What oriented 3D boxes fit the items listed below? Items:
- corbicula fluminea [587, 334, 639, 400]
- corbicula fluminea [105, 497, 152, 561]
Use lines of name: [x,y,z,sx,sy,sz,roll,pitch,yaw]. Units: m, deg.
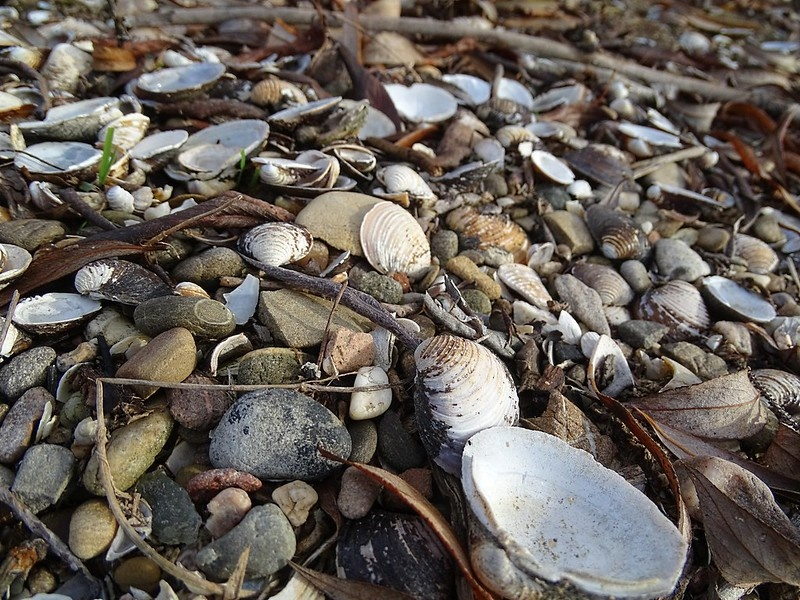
corbicula fluminea: [1.058,0.326,3.789,0.212,0.067,0.346,-5,82,-24]
corbicula fluminea: [-1.140,0.985,3.188,0.144,0.283,0.100,11,10,39]
